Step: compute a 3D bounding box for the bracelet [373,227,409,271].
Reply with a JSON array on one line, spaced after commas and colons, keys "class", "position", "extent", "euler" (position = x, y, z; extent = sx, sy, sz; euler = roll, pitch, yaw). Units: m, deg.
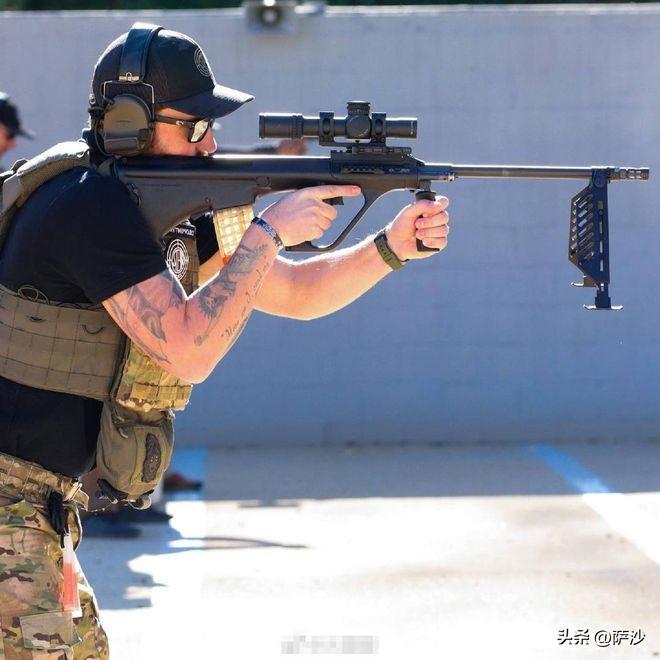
[{"class": "bracelet", "position": [0.246, -0.329, 4.924], "extent": [0.118, 0.076, 0.121], "euler": [44, 16, -33]}]

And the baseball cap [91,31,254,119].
[{"class": "baseball cap", "position": [-0.592, -0.918, 4.487], "extent": [0.493, 0.283, 0.323], "euler": [-3, 9, 0]}]

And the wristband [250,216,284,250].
[{"class": "wristband", "position": [-0.226, -0.359, 4.520], "extent": [0.117, 0.028, 0.113], "euler": [37, -8, 32]}]

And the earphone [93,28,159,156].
[{"class": "earphone", "position": [-0.763, -0.855, 4.500], "extent": [0.220, 0.492, 0.241], "euler": [16, 29, 27]}]
